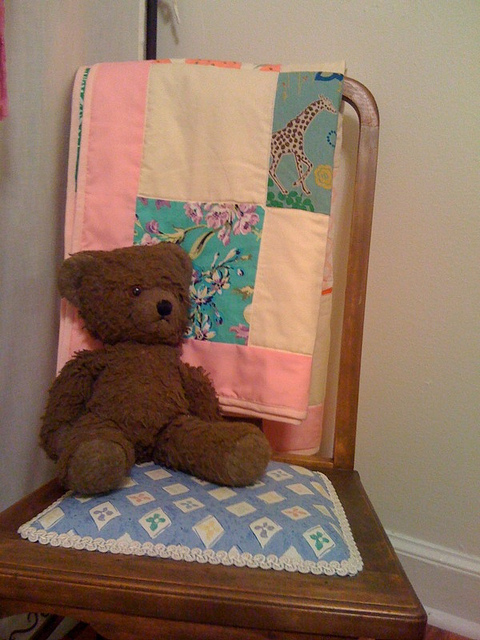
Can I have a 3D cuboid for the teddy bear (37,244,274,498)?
[{"bbox_3d":[-0.128,0.054,0.858,0.296,0.288,0.329,-2,16,-19],"label":"teddy bear"}]
